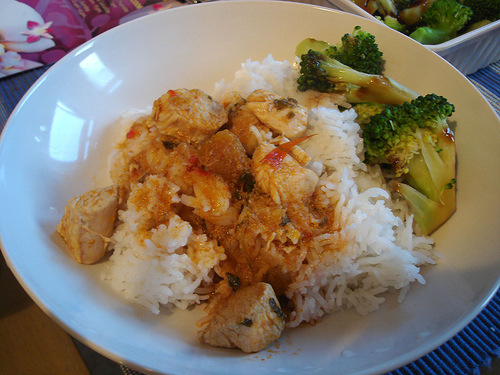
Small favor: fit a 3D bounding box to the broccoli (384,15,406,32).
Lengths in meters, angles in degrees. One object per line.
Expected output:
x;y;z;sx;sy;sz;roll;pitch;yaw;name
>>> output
1.422;-1.610;4.341;0.186;0.054;0.186;6;58;-21;broccoli
